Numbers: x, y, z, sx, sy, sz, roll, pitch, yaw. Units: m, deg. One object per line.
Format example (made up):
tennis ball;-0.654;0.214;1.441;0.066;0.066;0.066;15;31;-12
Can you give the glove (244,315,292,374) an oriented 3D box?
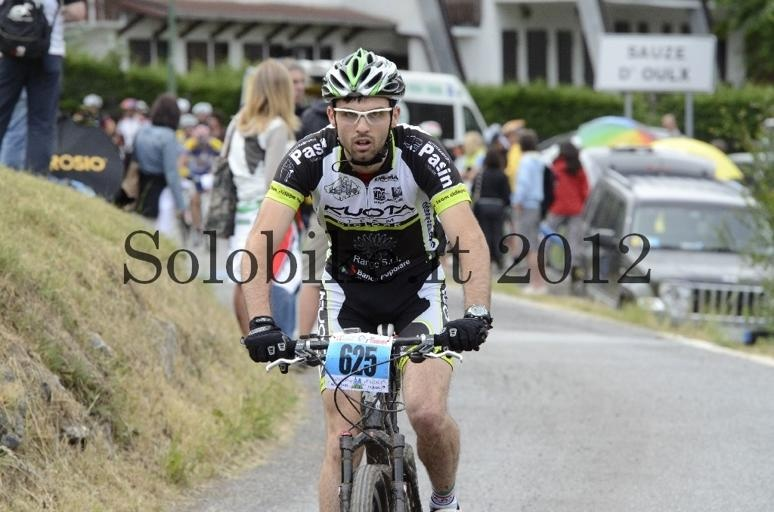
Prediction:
glove;-0.931;0.641;13.340;0.299;0.205;0.449;-1;49;-16

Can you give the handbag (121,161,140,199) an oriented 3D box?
handbag;-2.894;-0.865;19.213;0.098;0.367;0.262;14;-17;-9

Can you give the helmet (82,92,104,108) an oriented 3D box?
helmet;-3.131;-1.647;18.019;0.168;0.152;0.140;5;-13;-19

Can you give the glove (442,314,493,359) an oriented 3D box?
glove;0.674;0.555;13.491;0.360;0.253;0.509;-3;16;24

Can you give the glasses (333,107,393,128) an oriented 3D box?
glasses;-0.205;-1.123;13.560;0.427;0.148;0.116;1;11;-10
